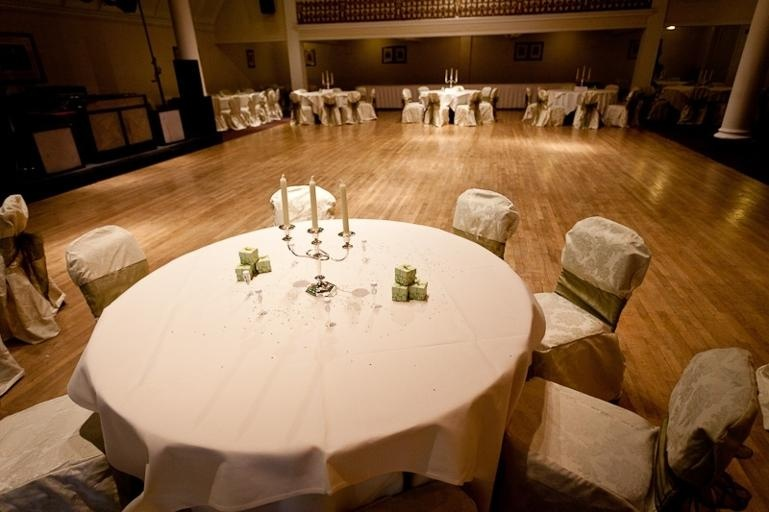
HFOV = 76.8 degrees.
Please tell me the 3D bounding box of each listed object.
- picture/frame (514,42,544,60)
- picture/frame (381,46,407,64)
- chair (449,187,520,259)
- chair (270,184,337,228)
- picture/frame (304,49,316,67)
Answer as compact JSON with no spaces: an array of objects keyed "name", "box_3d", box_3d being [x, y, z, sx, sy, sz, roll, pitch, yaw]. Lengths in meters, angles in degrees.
[{"name":"picture/frame","box_3d":[4.733,-6.714,15.833,0.606,0.471,0.064,7,41,14]},{"name":"picture/frame","box_3d":[0.357,-7.046,16.937,0.619,0.477,0.065,2,41,8]},{"name":"chair","box_3d":[0.886,-0.343,4.009,0.612,0.418,0.356,20,13,42]},{"name":"chair","box_3d":[-0.702,-0.445,4.219,0.432,0.423,0.455,10,21,20]},{"name":"picture/frame","box_3d":[-2.462,-6.617,16.279,0.119,0.552,0.502,22,34,36]}]
